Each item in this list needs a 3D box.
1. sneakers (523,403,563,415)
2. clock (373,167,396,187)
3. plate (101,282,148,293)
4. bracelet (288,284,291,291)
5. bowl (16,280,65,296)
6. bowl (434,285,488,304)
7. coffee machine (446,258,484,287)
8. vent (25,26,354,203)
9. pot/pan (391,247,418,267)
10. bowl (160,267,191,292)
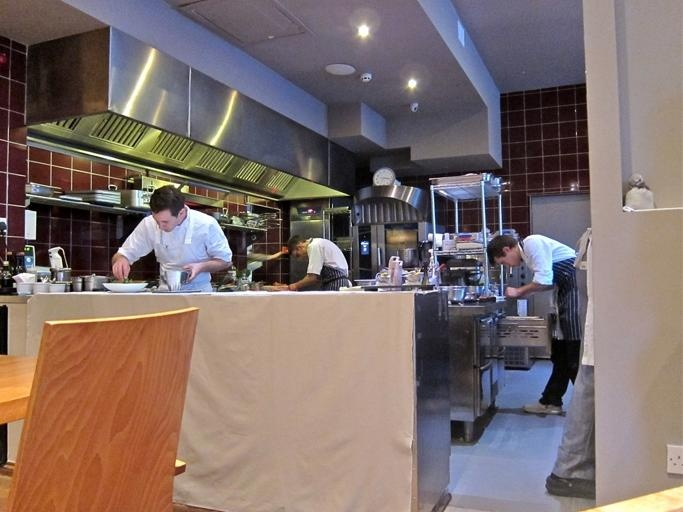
[{"bbox_3d":[1.497,1.102,4.252,0.259,0.119,0.106,2,-3,23],"label":"sneakers"},{"bbox_3d":[0.502,-0.922,6.699,0.258,0.315,0.579,-1,-1,3],"label":"clock"},{"bbox_3d":[-1.112,0.162,2.939,0.190,0.050,0.224,0,-2,-24],"label":"plate"},{"bbox_3d":[-0.441,0.277,4.906,0.053,0.053,0.013,-12,-27,41],"label":"bracelet"},{"bbox_3d":[-1.723,0.182,3.324,0.290,0.062,0.186,0,-2,-43],"label":"bowl"},{"bbox_3d":[0.834,0.265,3.918,0.197,0.108,0.515,-2,-2,34],"label":"bowl"},{"bbox_3d":[1.014,0.133,4.736,0.308,0.228,0.294,-1,-1,5],"label":"coffee machine"},{"bbox_3d":[-1.160,-1.060,4.805,0.673,0.684,2.719,-2,-2,28],"label":"vent"},{"bbox_3d":[0.735,0.023,6.307,0.215,0.222,0.473,0,-2,-36],"label":"pot/pan"},{"bbox_3d":[-0.842,0.126,2.924,0.152,0.114,0.104,4,-8,-30],"label":"bowl"}]
